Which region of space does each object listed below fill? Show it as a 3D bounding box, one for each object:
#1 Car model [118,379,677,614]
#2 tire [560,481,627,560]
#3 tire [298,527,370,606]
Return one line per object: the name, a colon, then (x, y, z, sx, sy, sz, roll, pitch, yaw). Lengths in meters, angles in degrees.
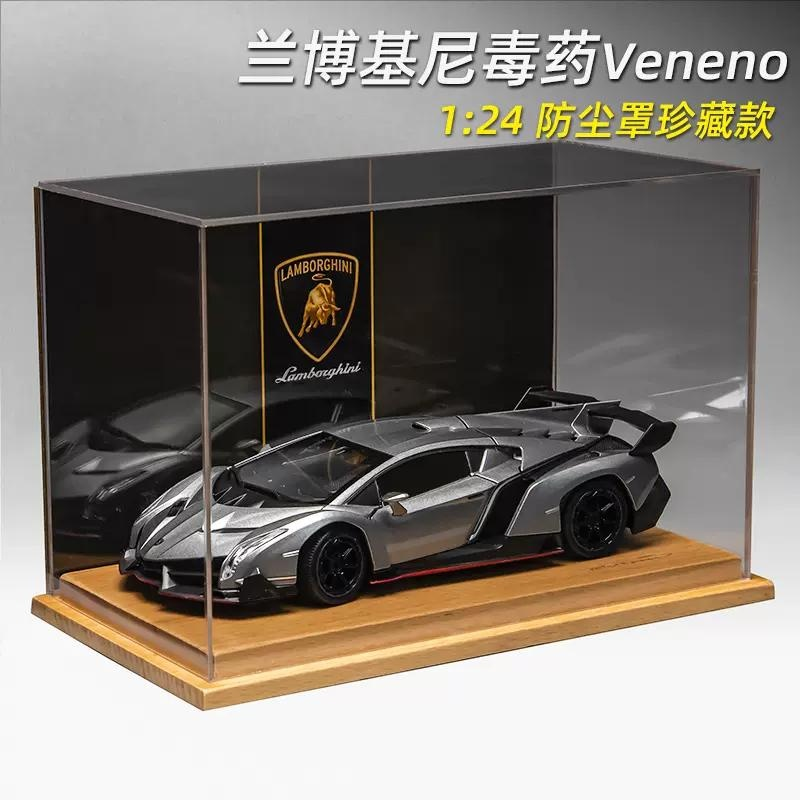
Car model: (0.035, 0.228, 3.360, 1.786, 0.440, 0.995, -5, 10, -23)
tire: (0.865, 0.535, 3.619, 0.388, 0.342, 0.120, -7, 18, -24)
tire: (-0.260, 0.621, 3.018, 0.333, 0.296, 0.113, -6, 21, -33)
